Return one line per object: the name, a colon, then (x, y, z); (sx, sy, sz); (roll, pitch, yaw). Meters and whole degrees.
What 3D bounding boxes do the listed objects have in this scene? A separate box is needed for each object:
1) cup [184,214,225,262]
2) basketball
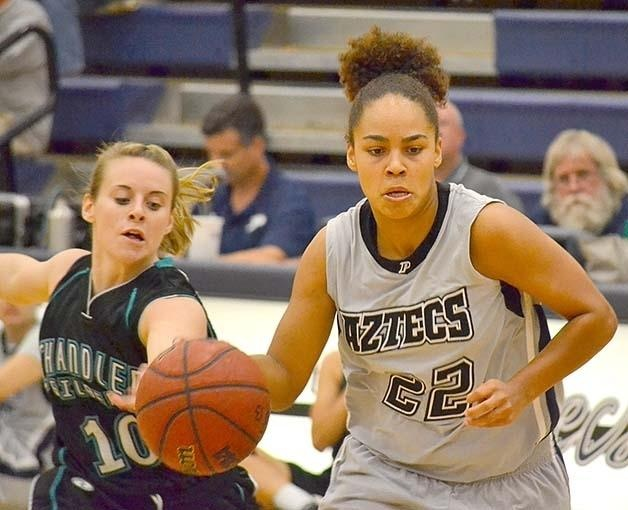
cup: (-0.546, -0.094, 5.530); (0.209, 0.402, 0.217); (1, 2, 0)
basketball: (-0.356, 0.557, 3.843); (0.451, 0.451, 0.453); (-3, -26, 4)
